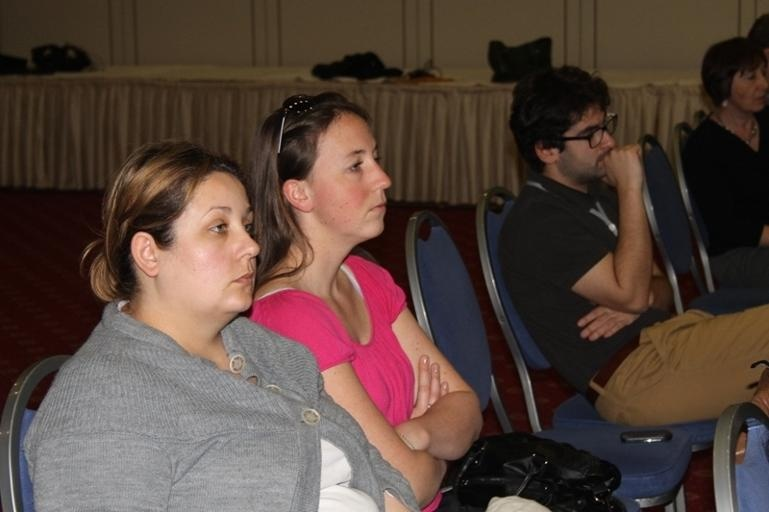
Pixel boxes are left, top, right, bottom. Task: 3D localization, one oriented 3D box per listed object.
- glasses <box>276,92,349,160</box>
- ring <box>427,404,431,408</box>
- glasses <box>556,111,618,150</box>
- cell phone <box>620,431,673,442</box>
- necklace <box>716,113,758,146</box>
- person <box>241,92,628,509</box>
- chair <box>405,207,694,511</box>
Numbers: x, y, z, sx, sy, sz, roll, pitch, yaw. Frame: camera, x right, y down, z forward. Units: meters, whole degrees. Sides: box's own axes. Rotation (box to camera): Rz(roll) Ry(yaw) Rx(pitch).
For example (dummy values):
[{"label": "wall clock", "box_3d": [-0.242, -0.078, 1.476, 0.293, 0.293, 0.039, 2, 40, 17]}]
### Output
[{"label": "glasses", "box_3d": [-0.238, -0.360, 1.924, 0.145, 0.165, 0.048, -6, 13, -29]}, {"label": "ring", "box_3d": [0.126, 0.428, 2.011, 0.008, 0.008, 0.008, 0, -1, 0]}, {"label": "glasses", "box_3d": [0.776, -0.486, 2.705, 0.199, 0.064, 0.198, -1, 25, 44]}, {"label": "cell phone", "box_3d": [0.827, 0.565, 2.222, 0.118, 0.018, 0.062, -2, 5, 11]}, {"label": "necklace", "box_3d": [1.936, -0.679, 3.892, 0.220, 0.060, 0.175, 48, 30, 14]}, {"label": "person", "box_3d": [0.248, -0.028, 2.613, 0.953, 1.900, 0.929, -3, 9, 11]}, {"label": "chair", "box_3d": [0.664, 0.183, 2.776, 0.940, 1.590, 0.838, -6, 10, 31]}]
